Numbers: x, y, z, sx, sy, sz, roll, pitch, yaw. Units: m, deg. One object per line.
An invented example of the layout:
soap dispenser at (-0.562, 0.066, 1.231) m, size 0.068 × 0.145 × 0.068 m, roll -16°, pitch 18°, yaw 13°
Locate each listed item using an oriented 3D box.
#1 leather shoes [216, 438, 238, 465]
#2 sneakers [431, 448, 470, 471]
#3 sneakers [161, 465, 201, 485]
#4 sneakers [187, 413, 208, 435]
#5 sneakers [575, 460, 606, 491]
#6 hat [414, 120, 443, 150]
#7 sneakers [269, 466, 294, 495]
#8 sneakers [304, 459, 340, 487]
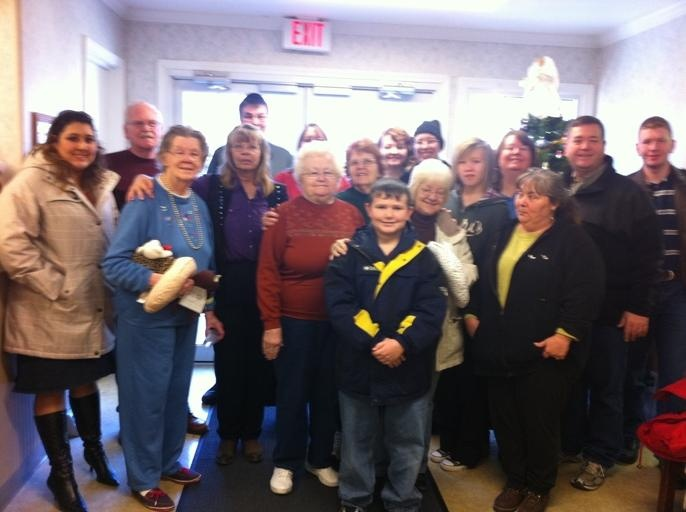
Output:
leather shoes at (-0.712, 1.208, 3.489) m, size 0.117 × 0.106 × 0.299 m, roll 2°, pitch -14°, yaw -8°
sneakers at (0.673, 1.280, 3.586) m, size 0.192 × 0.056 × 0.105 m, roll 10°, pitch 10°, yaw 21°
sneakers at (-0.925, 1.271, 3.300) m, size 0.244 × 0.072 × 0.088 m, roll 4°, pitch 4°, yaw -4°
sneakers at (-0.987, 1.154, 3.841) m, size 0.220 × 0.076 × 0.072 m, roll 0°, pitch -3°, yaw 28°
sneakers at (1.491, 1.324, 3.394) m, size 0.280 × 0.105 × 0.107 m, roll 10°, pitch -16°, yaw -43°
hat at (0.655, -0.909, 4.248) m, size 0.200 × 0.171 × 0.245 m, roll -2°, pitch -34°, yaw 16°
sneakers at (-0.353, 1.289, 3.273) m, size 0.136 × 0.129 × 0.122 m, roll 0°, pitch 9°, yaw -6°
sneakers at (-0.124, 1.286, 3.353) m, size 0.196 × 0.066 × 0.099 m, roll 12°, pitch 18°, yaw 34°
